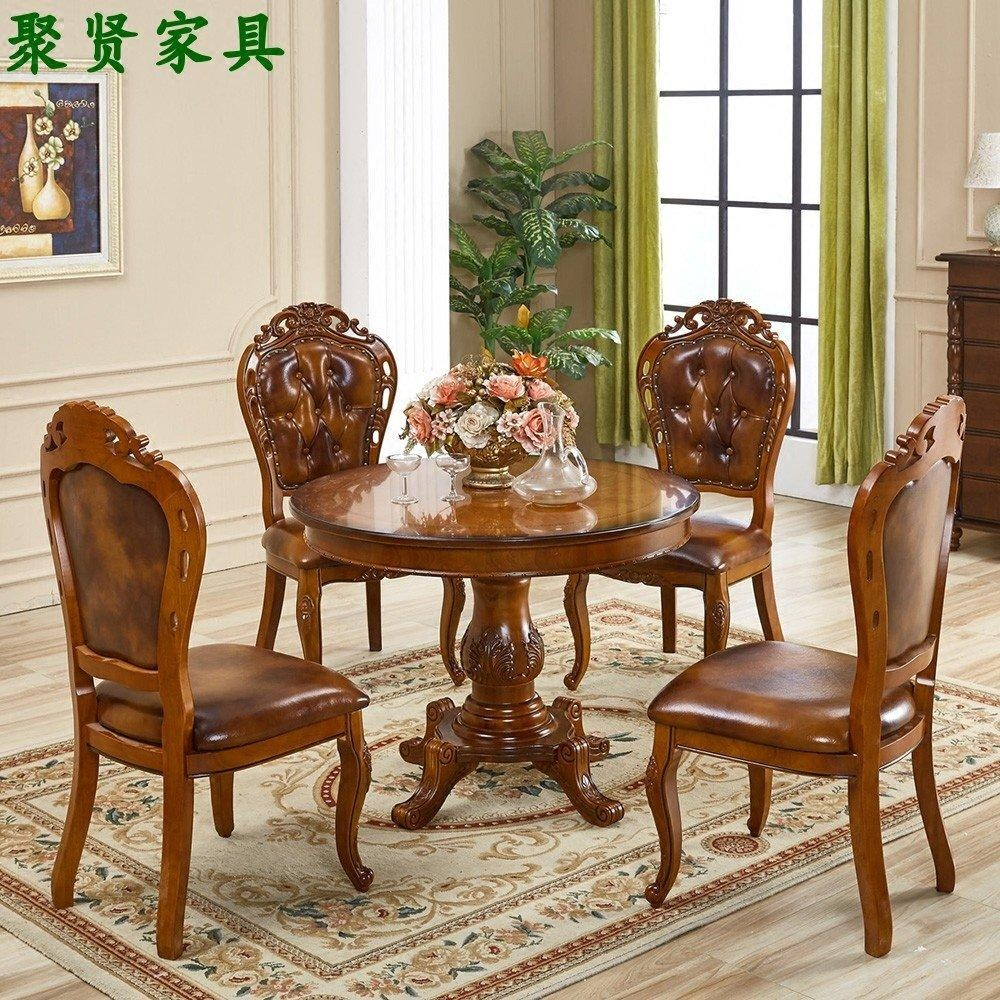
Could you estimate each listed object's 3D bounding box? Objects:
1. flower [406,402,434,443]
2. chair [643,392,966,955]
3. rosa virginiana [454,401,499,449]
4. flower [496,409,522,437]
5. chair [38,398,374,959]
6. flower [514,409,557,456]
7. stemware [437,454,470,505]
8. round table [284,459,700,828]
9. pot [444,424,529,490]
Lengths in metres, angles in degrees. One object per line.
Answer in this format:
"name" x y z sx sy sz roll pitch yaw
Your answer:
"flower" -0.191 -0.199 2.684 0.062 0.086 0.094 -22 14 -35
"chair" 0.585 0.299 2.193 0.665 0.974 0.623 2 6 30
"rosa virginiana" -0.055 -0.184 2.592 0.110 0.115 0.057 -2 10 -1
"flower" 0.028 -0.189 2.567 0.061 0.059 0.027 -33 9 10
"chair" -0.641 0.327 2.149 0.590 1.072 0.473 3 12 26
"flower" 0.092 -0.175 2.570 0.096 0.115 0.049 -2 10 0
"stemware" -0.110 -0.054 2.718 0.141 0.132 0.129 0 5 0
"round table" -0.050 0.300 2.790 1.088 0.682 1.007 -1 11 0
"pot" -0.022 -0.108 2.662 0.176 0.105 0.158 -2 4 -12
